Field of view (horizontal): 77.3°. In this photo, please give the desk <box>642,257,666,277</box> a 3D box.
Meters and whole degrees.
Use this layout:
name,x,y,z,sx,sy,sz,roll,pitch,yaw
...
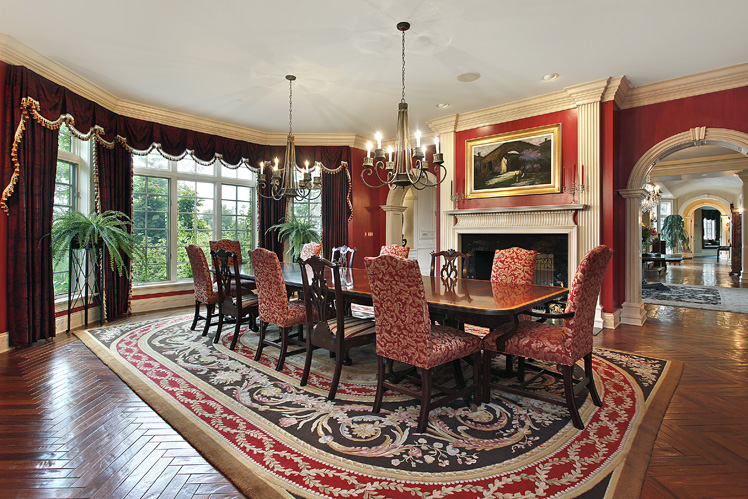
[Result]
name,x,y,z,sx,sy,sz,roll,pitch,yaw
desk,7.091,0.436,11.887,0.573,0.235,0.349,1,6,24

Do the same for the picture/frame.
name,x,y,z,sx,sy,sz,roll,pitch,yaw
picture/frame,2.224,-1.377,7.271,1.510,0.932,0.064,2,4,35

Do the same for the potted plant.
name,x,y,z,sx,sy,sz,roll,pitch,yaw
potted plant,-3.801,-0.105,6.342,0.931,0.879,1.136,-2,3,-32
